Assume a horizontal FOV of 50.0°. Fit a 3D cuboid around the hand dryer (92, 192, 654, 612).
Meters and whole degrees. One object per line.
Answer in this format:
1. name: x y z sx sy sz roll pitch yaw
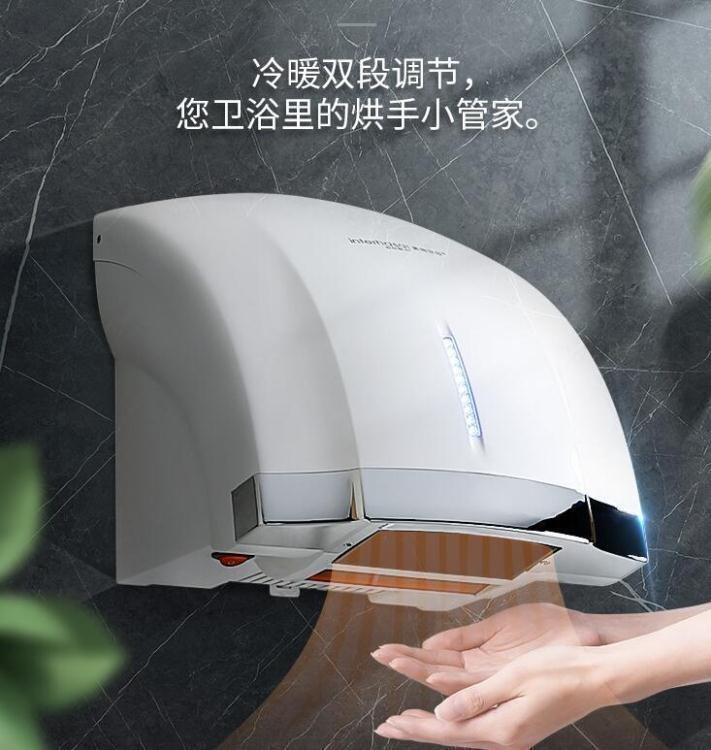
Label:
1. hand dryer: 0.021 -0.006 1.287 0.437 0.817 0.609 -20 71 37
